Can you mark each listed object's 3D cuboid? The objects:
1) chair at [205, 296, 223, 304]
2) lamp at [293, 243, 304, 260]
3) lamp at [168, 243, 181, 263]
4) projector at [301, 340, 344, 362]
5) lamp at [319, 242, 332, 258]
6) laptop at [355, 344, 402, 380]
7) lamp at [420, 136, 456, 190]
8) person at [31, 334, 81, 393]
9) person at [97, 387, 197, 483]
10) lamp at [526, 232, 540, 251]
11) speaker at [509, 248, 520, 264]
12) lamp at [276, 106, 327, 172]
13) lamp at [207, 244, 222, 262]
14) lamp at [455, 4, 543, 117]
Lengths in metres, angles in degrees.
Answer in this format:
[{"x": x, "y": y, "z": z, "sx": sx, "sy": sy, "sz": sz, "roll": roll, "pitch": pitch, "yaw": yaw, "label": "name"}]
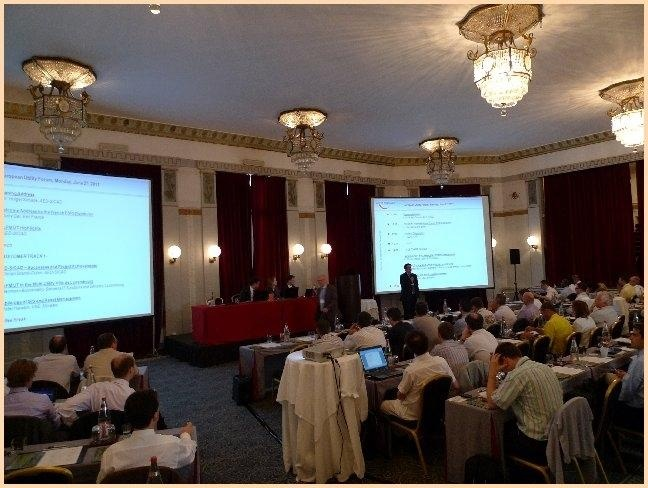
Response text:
[{"x": -2.345, "y": 1.258, "z": 10.750, "sx": 0.239, "sy": 0.133, "sz": 0.339, "roll": 0, "pitch": -2, "yaw": -33, "label": "chair"}, {"x": -0.673, "y": 0.211, "z": 12.499, "sx": 0.338, "sy": 0.513, "sz": 0.322, "roll": 2, "pitch": -4, "yaw": -31, "label": "lamp"}, {"x": -3.248, "y": 0.225, "z": 10.742, "sx": 0.341, "sy": 0.434, "sz": 0.202, "roll": -1, "pitch": -2, "yaw": -39, "label": "lamp"}, {"x": 0.025, "y": 1.200, "z": 5.461, "sx": 0.216, "sy": 0.107, "sz": 0.301, "roll": -2, "pitch": -4, "yaw": 43, "label": "projector"}, {"x": 0.028, "y": 0.171, "z": 13.016, "sx": 0.365, "sy": 0.534, "sz": 0.336, "roll": 3, "pitch": -3, "yaw": -28, "label": "lamp"}, {"x": 0.728, "y": 1.475, "z": 6.091, "sx": 0.532, "sy": 0.310, "sz": 0.469, "roll": 0, "pitch": 0, "yaw": -32, "label": "laptop"}, {"x": 3.016, "y": -2.136, "z": 12.532, "sx": 0.956, "sy": 1.019, "sz": 0.936, "roll": 4, "pitch": -9, "yaw": -20, "label": "lamp"}, {"x": -3.468, "y": 1.751, "z": 6.374, "sx": 0.464, "sy": 1.035, "sz": 0.473, "roll": 2, "pitch": -1, "yaw": -15, "label": "person"}, {"x": -1.533, "y": 1.660, "z": 4.273, "sx": 0.834, "sy": 0.691, "sz": 0.405, "roll": -2, "pitch": -2, "yaw": -26, "label": "person"}, {"x": 6.030, "y": -0.037, "z": 13.970, "sx": 0.372, "sy": 0.578, "sz": 0.389, "roll": 1, "pitch": -4, "yaw": -9, "label": "lamp"}, {"x": 5.531, "y": 0.383, "z": 14.127, "sx": 0.271, "sy": 0.367, "sz": 0.472, "roll": -3, "pitch": -2, "yaw": 20, "label": "speaker"}, {"x": -0.410, "y": -2.160, "z": 10.510, "sx": 1.035, "sy": 1.291, "sz": 1.152, "roll": -3, "pitch": -3, "yaw": 27, "label": "lamp"}, {"x": -2.534, "y": 0.221, "z": 11.219, "sx": 0.356, "sy": 0.532, "sz": 0.328, "roll": 1, "pitch": -2, "yaw": -44, "label": "lamp"}, {"x": 2.595, "y": -2.562, "z": 7.318, "sx": 1.278, "sy": 1.693, "sz": 1.366, "roll": -2, "pitch": 0, "yaw": 41, "label": "lamp"}]
